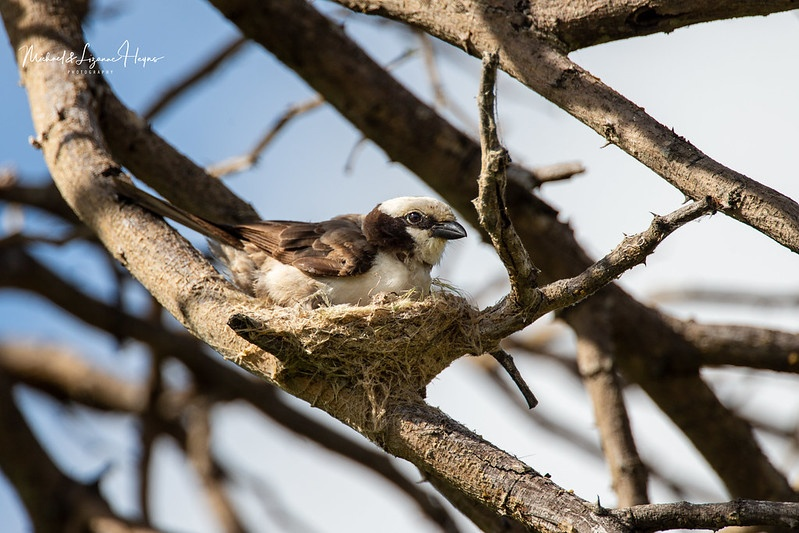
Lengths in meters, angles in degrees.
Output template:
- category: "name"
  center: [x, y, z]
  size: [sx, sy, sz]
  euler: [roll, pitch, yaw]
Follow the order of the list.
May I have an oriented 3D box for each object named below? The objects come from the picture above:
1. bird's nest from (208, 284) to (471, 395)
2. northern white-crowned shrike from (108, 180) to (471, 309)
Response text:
- category: "bird's nest"
  center: [-0.235, 0.551, 9.153]
  size: [1.075, 0.473, 1.064]
  euler: [3, 2, -5]
- category: "northern white-crowned shrike"
  center: [-0.892, -0.066, 10.367]
  size: [2.855, 1.263, 0.979]
  euler: [6, 1, 11]
